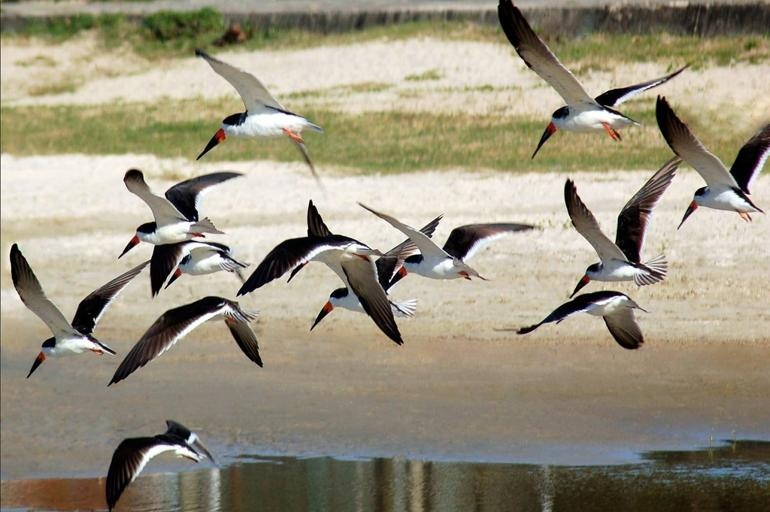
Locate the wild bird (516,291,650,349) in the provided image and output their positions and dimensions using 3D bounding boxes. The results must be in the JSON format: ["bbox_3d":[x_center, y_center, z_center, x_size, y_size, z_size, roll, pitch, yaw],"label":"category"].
[{"bbox_3d":[3.313,0.955,23.864,1.167,0.371,1.547,-19,-8,14],"label":"wild bird"}]

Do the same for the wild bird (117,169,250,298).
[{"bbox_3d":[-3.381,-0.308,26.039,1.684,0.601,2.309,-23,33,19],"label":"wild bird"}]
